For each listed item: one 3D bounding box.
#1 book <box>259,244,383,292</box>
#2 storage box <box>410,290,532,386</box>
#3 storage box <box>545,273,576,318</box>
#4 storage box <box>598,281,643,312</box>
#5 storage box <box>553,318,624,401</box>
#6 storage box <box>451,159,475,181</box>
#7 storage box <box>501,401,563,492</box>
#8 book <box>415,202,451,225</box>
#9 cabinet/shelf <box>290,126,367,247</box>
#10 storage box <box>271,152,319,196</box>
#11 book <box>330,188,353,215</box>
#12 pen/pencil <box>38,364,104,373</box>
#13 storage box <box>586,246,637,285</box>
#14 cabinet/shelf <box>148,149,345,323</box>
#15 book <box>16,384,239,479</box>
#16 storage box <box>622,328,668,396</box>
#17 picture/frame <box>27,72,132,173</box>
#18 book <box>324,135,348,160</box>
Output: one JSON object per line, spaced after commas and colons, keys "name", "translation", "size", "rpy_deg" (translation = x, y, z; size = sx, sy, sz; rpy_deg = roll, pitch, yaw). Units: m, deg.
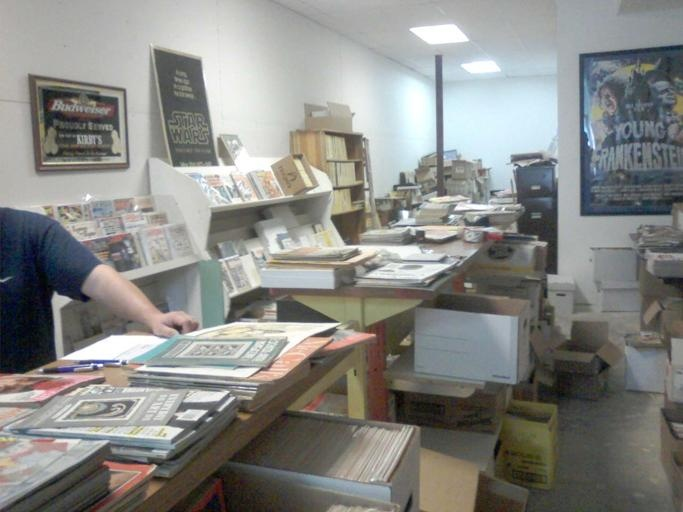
{"name": "book", "translation": [-0.119, 0.056, 2.138], "size": [0.460, 0.173, 0.179], "rpy_deg": [0, 10, 8]}
{"name": "storage box", "translation": [0.605, 0.407, 2.264], "size": [0.457, 0.436, 0.467], "rpy_deg": [3, 11, 25]}
{"name": "storage box", "translation": [2.203, 0.395, 4.947], "size": [0.287, 0.351, 0.521], "rpy_deg": [2, 7, 27]}
{"name": "storage box", "translation": [2.799, 0.397, 4.938], "size": [0.324, 0.290, 0.329], "rpy_deg": [-1, 4, 6]}
{"name": "storage box", "translation": [1.806, 0.793, 3.698], "size": [0.556, 0.515, 0.562], "rpy_deg": [-8, 4, -33]}
{"name": "storage box", "translation": [2.810, -1.961, 11.124], "size": [0.418, 0.518, 0.743], "rpy_deg": [7, 11, 35]}
{"name": "storage box", "translation": [1.062, 0.982, 2.835], "size": [0.372, 0.469, 0.502], "rpy_deg": [1, 5, 26]}
{"name": "book", "translation": [0.777, -0.363, 4.137], "size": [0.216, 0.090, 0.280], "rpy_deg": [1, 11, 16]}
{"name": "cabinet/shelf", "translation": [-0.167, -0.832, 5.546], "size": [0.452, 1.379, 1.520], "rpy_deg": [0, 10, 13]}
{"name": "storage box", "translation": [-0.488, -0.760, 4.730], "size": [0.268, 0.420, 0.415], "rpy_deg": [-34, 10, -20]}
{"name": "book", "translation": [-0.014, -0.687, 6.075], "size": [0.061, 0.252, 0.436], "rpy_deg": [2, 6, 26]}
{"name": "pen/pencil", "translation": [-0.709, 0.293, 1.292], "size": [0.104, 0.013, 0.015], "rpy_deg": [-5, 13, 2]}
{"name": "storage box", "translation": [2.745, 0.072, 5.008], "size": [0.475, 0.419, 0.322], "rpy_deg": [1, 5, 24]}
{"name": "cabinet/shelf", "translation": [-0.780, -0.163, 3.616], "size": [0.458, 0.863, 1.532], "rpy_deg": [-5, 8, 21]}
{"name": "book", "translation": [-0.372, 0.314, 0.909], "size": [0.203, 0.046, 0.200], "rpy_deg": [3, 7, 15]}
{"name": "storage box", "translation": [2.269, 0.807, 3.669], "size": [0.256, 0.385, 0.133], "rpy_deg": [3, 11, 23]}
{"name": "picture/frame", "translation": [-1.755, -0.878, 3.306], "size": [0.065, 0.541, 0.685], "rpy_deg": [10, 14, 25]}
{"name": "book", "translation": [-0.083, -1.331, 5.987], "size": [0.084, 0.198, 0.445], "rpy_deg": [-5, 11, 21]}
